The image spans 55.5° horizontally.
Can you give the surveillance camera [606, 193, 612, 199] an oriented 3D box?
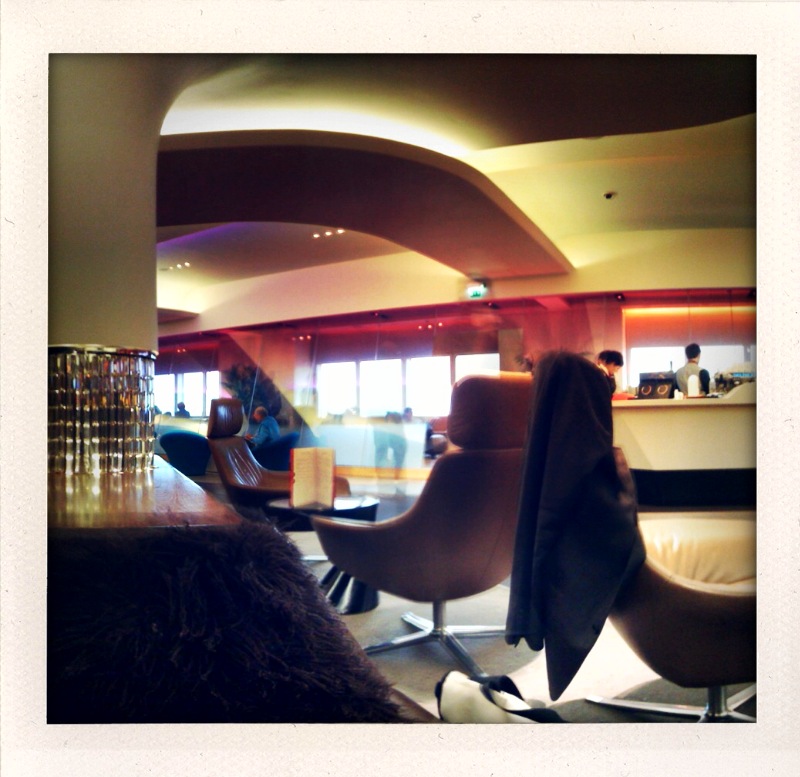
[{"bbox_3d":[0.598,-0.548,2.176,0.014,0.006,0.015,-30,9,-20],"label":"surveillance camera"}]
